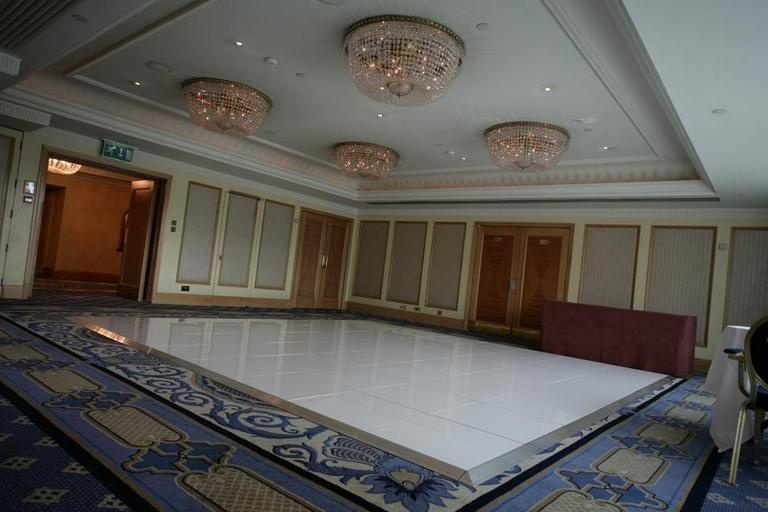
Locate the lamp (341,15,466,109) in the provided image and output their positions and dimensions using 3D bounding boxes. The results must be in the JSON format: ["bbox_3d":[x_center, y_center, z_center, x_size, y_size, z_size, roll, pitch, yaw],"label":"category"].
[{"bbox_3d":[0.186,-2.292,5.286,1.031,0.440,0.943,3,-26,-1],"label":"lamp"}]
